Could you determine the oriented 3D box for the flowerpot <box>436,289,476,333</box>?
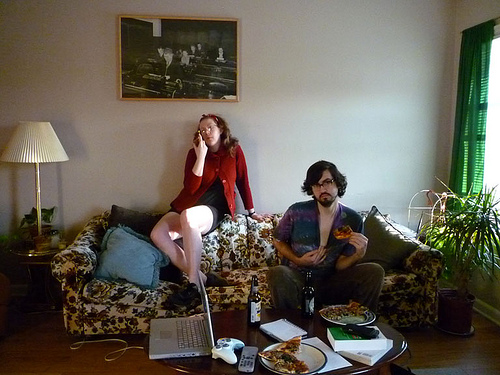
[{"bbox_3d":[1.704,1.032,3.361,0.298,0.399,0.324,2,6,-22],"label":"flowerpot"}]

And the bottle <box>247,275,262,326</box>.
[{"bbox_3d":[0.029,0.685,2.464,0.097,0.327,0.204,0,13,1],"label":"bottle"}]

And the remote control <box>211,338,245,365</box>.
[{"bbox_3d":[-0.123,0.897,2.161,0.146,0.074,0.158,5,14,18],"label":"remote control"}]

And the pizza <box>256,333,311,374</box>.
[{"bbox_3d":[0.183,0.901,2.075,0.269,0.090,0.219,-3,14,-13],"label":"pizza"}]

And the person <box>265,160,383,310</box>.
[{"bbox_3d":[0.562,0.473,2.965,0.882,1.346,0.829,3,-2,19],"label":"person"}]

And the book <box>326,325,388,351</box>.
[{"bbox_3d":[0.608,0.850,2.203,0.173,0.042,0.178,-1,3,1],"label":"book"}]

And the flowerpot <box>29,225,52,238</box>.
[{"bbox_3d":[-1.931,0.391,3.594,0.114,0.085,0.116,6,8,26],"label":"flowerpot"}]

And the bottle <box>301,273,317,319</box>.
[{"bbox_3d":[0.394,0.696,2.559,0.102,0.291,0.200,2,13,9],"label":"bottle"}]

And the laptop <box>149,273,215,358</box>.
[{"bbox_3d":[-0.401,0.744,2.341,0.355,0.347,0.489,6,2,-14],"label":"laptop"}]

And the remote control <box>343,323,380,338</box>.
[{"bbox_3d":[0.640,0.824,2.237,0.200,0.031,0.117,3,14,11],"label":"remote control"}]

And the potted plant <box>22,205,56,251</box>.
[{"bbox_3d":[-1.906,0.388,3.624,0.188,0.290,0.235,2,-1,38],"label":"potted plant"}]
